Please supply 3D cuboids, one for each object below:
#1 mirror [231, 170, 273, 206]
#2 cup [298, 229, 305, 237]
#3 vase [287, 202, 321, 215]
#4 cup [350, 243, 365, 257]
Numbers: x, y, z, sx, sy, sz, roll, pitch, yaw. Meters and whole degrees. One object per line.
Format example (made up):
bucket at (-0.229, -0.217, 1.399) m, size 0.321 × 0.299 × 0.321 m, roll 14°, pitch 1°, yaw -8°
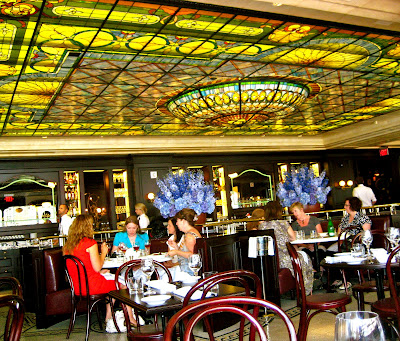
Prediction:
mirror at (1.931, 0.645, 12.196) m, size 2.080 × 1.100 × 0.040 m, roll 0°, pitch -10°, yaw -23°
cup at (1.916, 1.187, 5.997) m, size 0.158 × 0.117 × 0.136 m, roll 3°, pitch -11°, yaw -15°
vase at (2.985, 1.050, 8.996) m, size 1.270 × 0.333 × 1.027 m, roll 0°, pitch -6°, yaw 3°
cup at (1.637, 0.837, 3.354) m, size 0.186 × 0.135 × 0.155 m, roll 1°, pitch -12°, yaw 5°
